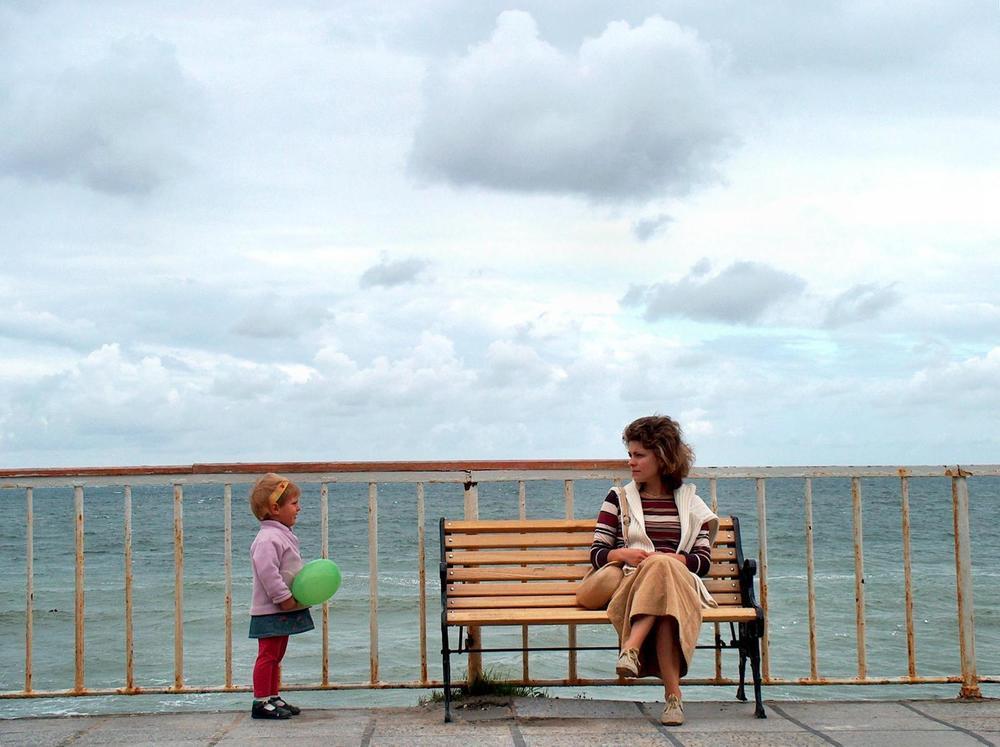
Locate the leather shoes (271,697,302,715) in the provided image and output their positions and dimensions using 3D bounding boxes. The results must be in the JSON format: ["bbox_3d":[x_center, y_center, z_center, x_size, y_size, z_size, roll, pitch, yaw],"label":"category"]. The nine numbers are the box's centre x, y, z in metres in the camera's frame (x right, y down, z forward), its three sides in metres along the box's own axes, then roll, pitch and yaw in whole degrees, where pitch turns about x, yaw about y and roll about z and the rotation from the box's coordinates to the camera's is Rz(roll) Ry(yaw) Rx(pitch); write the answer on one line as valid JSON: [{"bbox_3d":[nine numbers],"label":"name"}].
[{"bbox_3d":[-1.914,3.062,14.381,0.322,0.125,0.112,19,2,19],"label":"leather shoes"}]

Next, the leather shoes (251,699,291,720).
[{"bbox_3d":[-2.111,3.087,14.325,0.376,0.132,0.141,2,-8,5],"label":"leather shoes"}]

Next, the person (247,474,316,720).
[{"bbox_3d":[-2.039,2.048,14.461,0.555,2.236,0.331,-1,-3,-9],"label":"person"}]

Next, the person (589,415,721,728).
[{"bbox_3d":[1.401,1.793,14.360,1.243,2.808,0.760,-2,-3,-2],"label":"person"}]
